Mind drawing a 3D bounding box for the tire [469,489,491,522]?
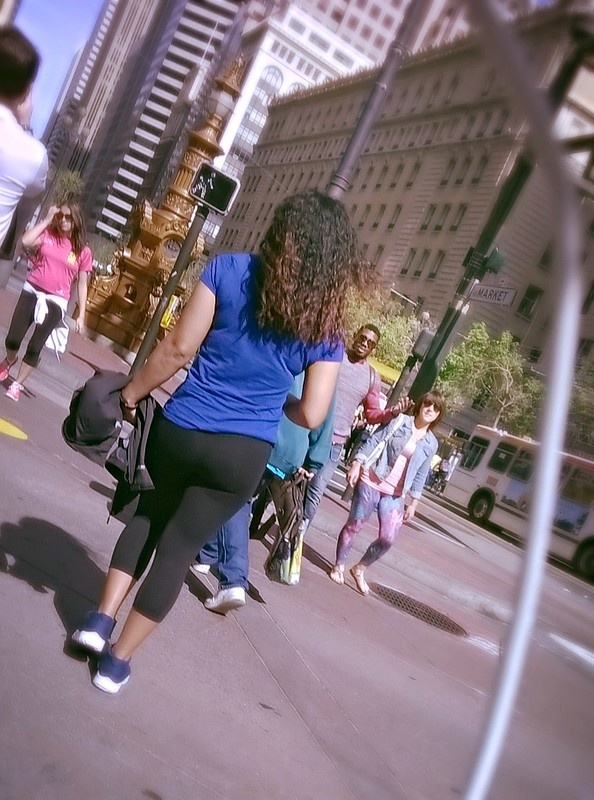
[{"bbox_3d":[8.579,4.991,24.085,0.411,1.432,1.279,11,3,-14],"label":"tire"}]

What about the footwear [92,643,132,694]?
[{"bbox_3d":[-0.761,1.138,2.212,0.100,0.162,0.229,18,-1,-5],"label":"footwear"}]

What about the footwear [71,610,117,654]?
[{"bbox_3d":[-0.885,1.009,2.263,0.112,0.112,0.216,27,-8,-3],"label":"footwear"}]

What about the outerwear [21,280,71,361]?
[{"bbox_3d":[-3.066,-0.974,6.535,0.566,0.880,0.355,24,41,-6],"label":"outerwear"}]

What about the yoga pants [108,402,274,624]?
[{"bbox_3d":[-0.500,0.465,2.202,0.505,0.915,0.282,24,1,25],"label":"yoga pants"}]
